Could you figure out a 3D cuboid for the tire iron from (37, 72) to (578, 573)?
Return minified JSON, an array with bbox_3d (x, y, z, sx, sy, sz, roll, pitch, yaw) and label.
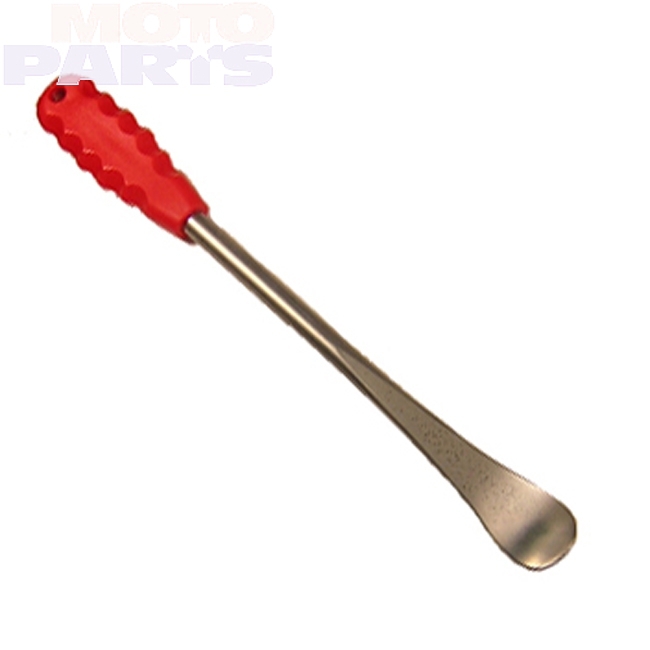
[{"bbox_3d":[-0.008,0.041,1.264,0.108,0.864,0.105,-33,-21,-7],"label":"tire iron"}]
